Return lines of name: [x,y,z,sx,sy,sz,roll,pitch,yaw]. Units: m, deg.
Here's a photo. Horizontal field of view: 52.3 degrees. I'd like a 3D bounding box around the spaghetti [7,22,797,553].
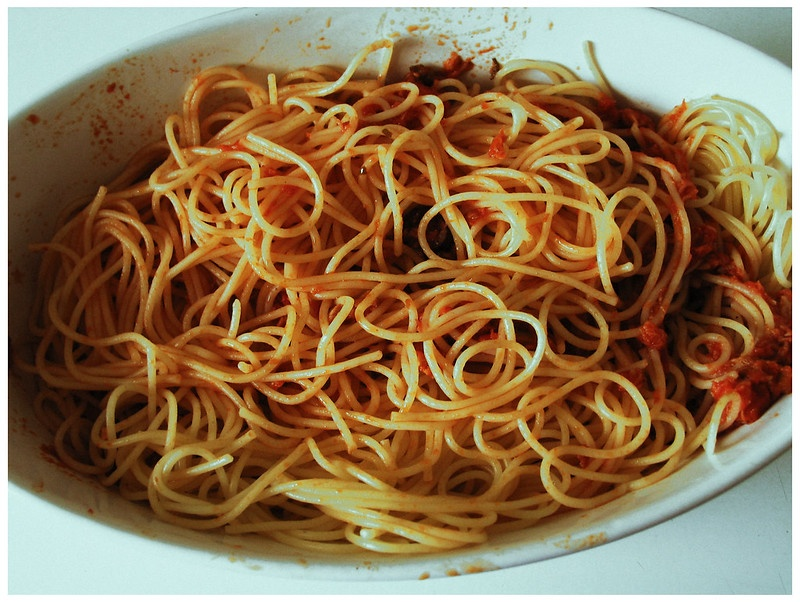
spaghetti: [-0.027,-0.082,3.267,3.162,0.712,2.254,-9,67,-1]
